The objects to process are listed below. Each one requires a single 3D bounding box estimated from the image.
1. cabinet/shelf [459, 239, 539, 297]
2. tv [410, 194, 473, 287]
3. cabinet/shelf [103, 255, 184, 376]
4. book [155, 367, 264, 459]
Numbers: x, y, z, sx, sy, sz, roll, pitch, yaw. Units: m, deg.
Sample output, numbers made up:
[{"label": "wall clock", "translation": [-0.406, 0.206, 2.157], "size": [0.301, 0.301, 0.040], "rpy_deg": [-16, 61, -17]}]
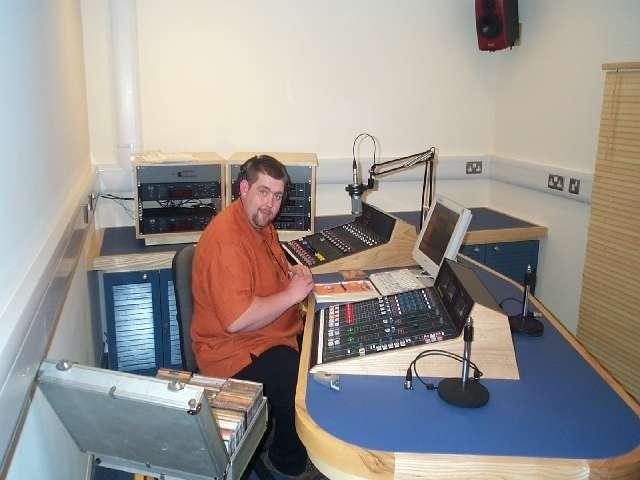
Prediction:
[{"label": "cabinet/shelf", "translation": [1.331, 0.267, 3.747], "size": [0.725, 0.397, 0.683], "rpy_deg": [4, 1, 21]}, {"label": "tv", "translation": [0.593, 0.012, 2.349], "size": [0.144, 0.431, 0.423], "rpy_deg": [14, 15, -17]}, {"label": "cabinet/shelf", "translation": [-1.112, 0.482, 3.195], "size": [0.525, 0.780, 0.431], "rpy_deg": [-2, 17, -18]}, {"label": "book", "translation": [-0.364, 0.518, 1.562], "size": [0.360, 0.169, 0.231], "rpy_deg": [6, 18, 31]}]
